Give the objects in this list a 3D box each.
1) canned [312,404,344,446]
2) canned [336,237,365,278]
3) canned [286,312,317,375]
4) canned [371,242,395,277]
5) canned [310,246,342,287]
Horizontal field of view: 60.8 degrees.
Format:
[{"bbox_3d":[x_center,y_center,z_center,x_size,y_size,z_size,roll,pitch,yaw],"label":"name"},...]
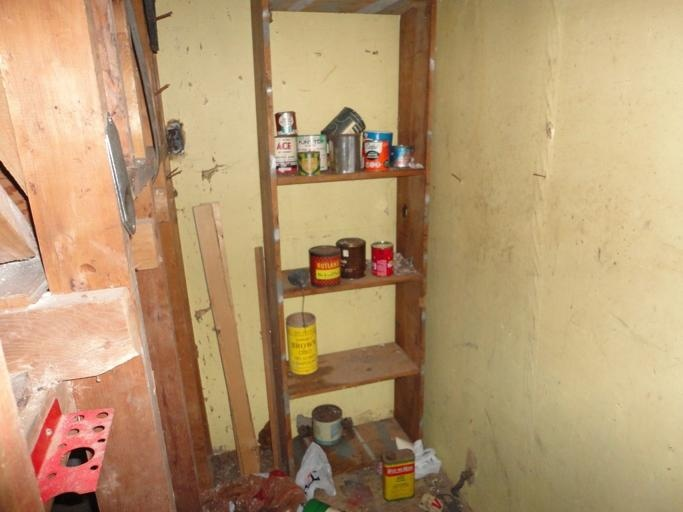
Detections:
[{"bbox_3d":[-0.070,0.754,2.593,0.149,0.133,0.145,-3,13,-16],"label":"canned"},{"bbox_3d":[0.040,0.012,2.366,0.135,0.152,0.137,1,15,5],"label":"canned"},{"bbox_3d":[-0.165,0.369,2.406,0.119,0.210,0.123,-2,12,2],"label":"canned"},{"bbox_3d":[0.162,0.011,2.373,0.117,0.128,0.111,7,17,19],"label":"canned"},{"bbox_3d":[-0.066,0.035,2.289,0.124,0.139,0.125,2,18,11],"label":"canned"}]
